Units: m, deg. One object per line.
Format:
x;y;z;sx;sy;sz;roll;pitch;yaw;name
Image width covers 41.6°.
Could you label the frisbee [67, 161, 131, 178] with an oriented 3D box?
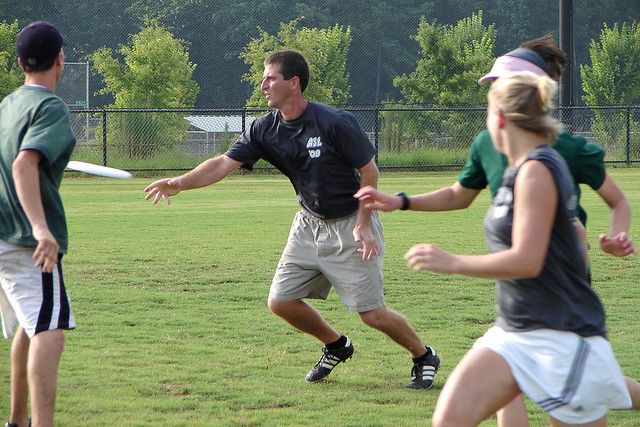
-1.655;-0.326;6.314;0.429;0.155;0.521;-3;11;-16;frisbee
